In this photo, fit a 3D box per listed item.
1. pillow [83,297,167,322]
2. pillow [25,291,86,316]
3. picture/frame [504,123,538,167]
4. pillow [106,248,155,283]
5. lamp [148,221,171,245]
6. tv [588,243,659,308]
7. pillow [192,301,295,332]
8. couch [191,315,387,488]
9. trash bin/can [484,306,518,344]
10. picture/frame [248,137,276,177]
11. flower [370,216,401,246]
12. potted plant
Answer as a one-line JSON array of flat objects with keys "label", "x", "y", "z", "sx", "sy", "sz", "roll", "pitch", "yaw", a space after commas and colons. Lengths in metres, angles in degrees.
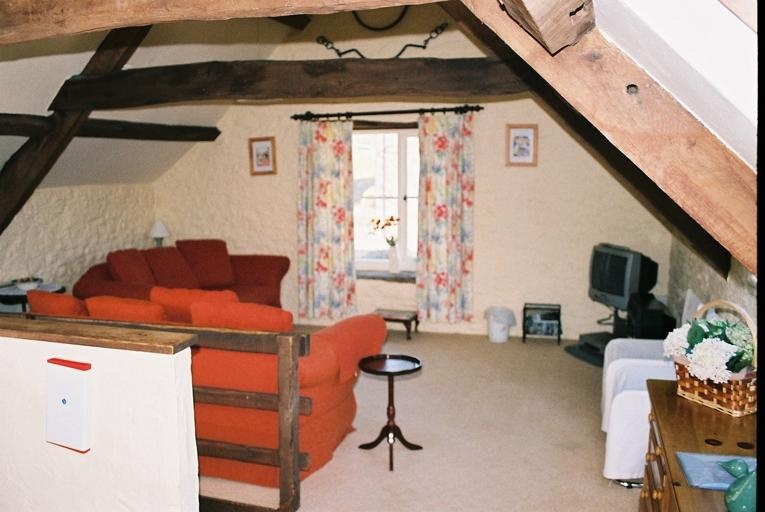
[{"label": "pillow", "x": -1.581, "y": 0.359, "z": 4.197, "sx": 0.459, "sy": 0.157, "sz": 0.438, "roll": -1, "pitch": -11, "yaw": 16}, {"label": "pillow", "x": -2.147, "y": 0.272, "z": 4.228, "sx": 0.262, "sy": 0.095, "sz": 0.247, "roll": 4, "pitch": 10, "yaw": 3}, {"label": "picture/frame", "x": 1.390, "y": -1.117, "z": 6.447, "sx": 0.436, "sy": 0.567, "sz": 0.041, "roll": 1, "pitch": 5, "yaw": 7}, {"label": "pillow", "x": -2.411, "y": 0.123, "z": 6.223, "sx": 0.409, "sy": 0.330, "sz": 0.398, "roll": -12, "pitch": 18, "yaw": -40}, {"label": "lamp", "x": -2.528, "y": -0.246, "z": 7.310, "sx": 0.225, "sy": 0.315, "sz": 0.420, "roll": -5, "pitch": 14, "yaw": -19}, {"label": "tv", "x": 2.132, "y": 0.183, "z": 5.723, "sx": 0.362, "sy": 0.451, "sz": 0.489, "roll": 11, "pitch": 9, "yaw": -19}, {"label": "pillow", "x": -0.856, "y": 0.369, "z": 3.869, "sx": 0.338, "sy": 0.135, "sz": 0.326, "roll": 5, "pitch": 7, "yaw": 11}, {"label": "couch", "x": -0.586, "y": 0.857, "z": 4.286, "sx": 0.879, "sy": 1.028, "sz": 1.500, "roll": 4, "pitch": 6, "yaw": 28}, {"label": "trash bin/can", "x": 1.192, "y": 0.700, "z": 6.586, "sx": 0.324, "sy": 0.326, "sz": 0.313, "roll": 2, "pitch": 14, "yaw": 9}, {"label": "picture/frame", "x": -1.310, "y": -1.106, "z": 7.120, "sx": 0.443, "sy": 0.550, "sz": 0.058, "roll": 0, "pitch": 3, "yaw": 9}, {"label": "flower", "x": 0.030, "y": -0.278, "z": 7.143, "sx": 0.308, "sy": 0.329, "sz": 0.125, "roll": 12, "pitch": 18, "yaw": 41}, {"label": "potted plant", "x": 1.643, "y": 0.451, "z": 3.395, "sx": 0.613, "sy": 0.576, "sz": 0.556, "roll": -3, "pitch": 4, "yaw": -42}]
